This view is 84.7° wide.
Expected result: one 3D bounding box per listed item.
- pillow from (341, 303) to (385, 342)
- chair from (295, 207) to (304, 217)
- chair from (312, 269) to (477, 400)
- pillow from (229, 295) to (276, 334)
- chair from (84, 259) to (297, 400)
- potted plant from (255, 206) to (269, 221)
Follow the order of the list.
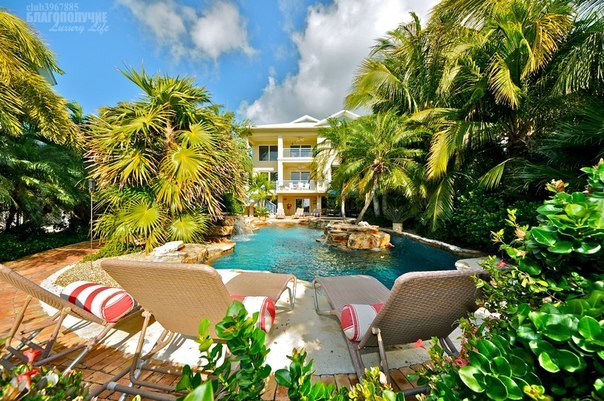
[{"bbox_3d":[1.362,2.767,7.690,0.952,0.843,0.643,-2,43,-29],"label":"pillow"},{"bbox_3d":[-0.194,1.032,28.514,0.573,0.837,0.743,0,-13,4],"label":"chair"},{"bbox_3d":[2.098,2.660,8.902,2.119,1.878,3.966,-1,1,-14],"label":"chair"},{"bbox_3d":[-1.077,2.789,7.608,0.984,0.762,1.015,3,-9,8],"label":"pillow"},{"bbox_3d":[-2.646,2.718,9.109,2.466,2.449,4.317,0,4,12],"label":"chair"},{"bbox_3d":[-3.110,1.085,26.283,0.994,1.047,1.008,0,0,-16],"label":"potted plant"}]
